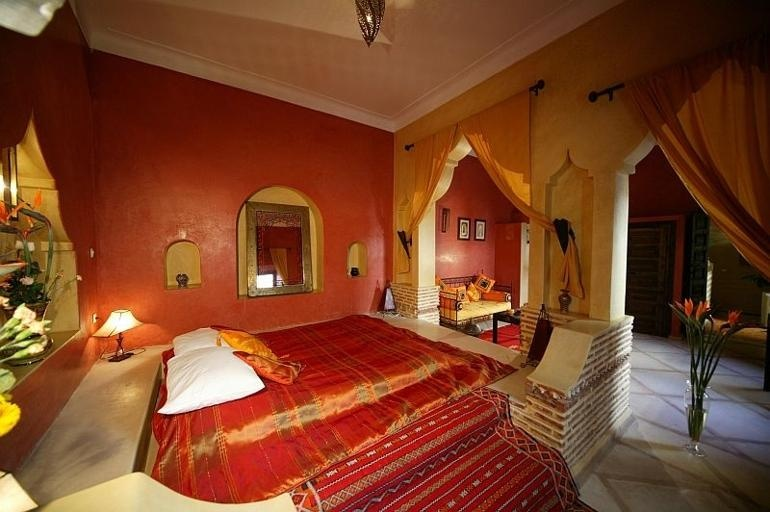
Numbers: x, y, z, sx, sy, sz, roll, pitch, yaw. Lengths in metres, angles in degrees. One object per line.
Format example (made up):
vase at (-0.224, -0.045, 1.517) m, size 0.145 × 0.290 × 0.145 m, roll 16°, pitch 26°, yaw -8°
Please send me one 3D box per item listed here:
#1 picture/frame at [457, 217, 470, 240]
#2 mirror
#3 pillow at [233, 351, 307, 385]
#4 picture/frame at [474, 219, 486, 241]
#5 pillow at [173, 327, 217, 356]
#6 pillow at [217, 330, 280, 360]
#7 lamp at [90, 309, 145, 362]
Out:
picture/frame at (1.483, -0.530, 8.995) m, size 0.045 × 0.501 × 0.399 m, roll 1°, pitch 1°, yaw 45°
mirror at (-1.409, -0.072, 6.205) m, size 1.169 × 1.721 × 0.133 m, roll 2°, pitch -6°, yaw -39°
pillow at (-1.090, 1.084, 4.609) m, size 0.409 × 0.148 × 0.362 m, roll 10°, pitch -5°, yaw -14°
picture/frame at (1.846, -0.515, 9.295) m, size 0.398 × 0.499 × 0.033 m, roll 0°, pitch 3°, yaw -40°
pillow at (-1.904, 0.863, 4.833) m, size 0.289 × 0.099 × 0.317 m, roll -5°, pitch 15°, yaw -38°
pillow at (-1.415, 0.861, 4.767) m, size 0.388 × 0.125 × 0.342 m, roll 23°, pitch -7°, yaw 36°
lamp at (-2.886, 0.844, 5.151) m, size 0.452 × 0.561 × 0.444 m, roll 1°, pitch -1°, yaw -29°
